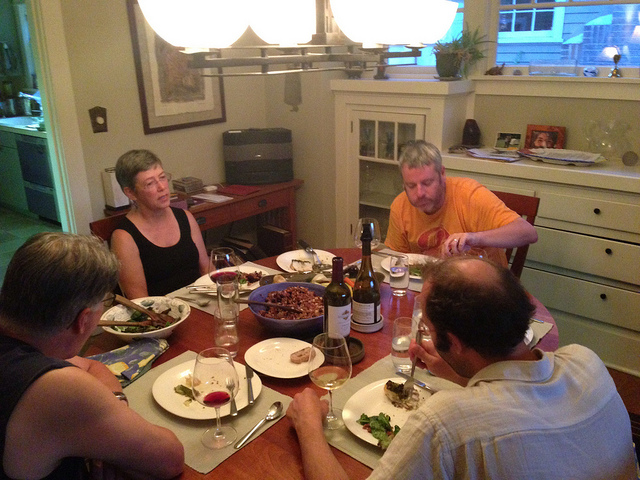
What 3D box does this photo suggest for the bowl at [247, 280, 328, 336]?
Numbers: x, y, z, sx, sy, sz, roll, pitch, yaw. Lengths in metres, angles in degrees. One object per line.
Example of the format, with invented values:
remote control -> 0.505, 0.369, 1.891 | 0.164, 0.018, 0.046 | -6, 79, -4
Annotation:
bowl -> -0.118, 0.307, 1.900 | 0.318, 0.129, 0.325 | 1, 14, 0

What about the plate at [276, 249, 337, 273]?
plate -> -0.096, 0.092, 2.476 | 0.171, 0.031, 0.168 | -11, 27, -23

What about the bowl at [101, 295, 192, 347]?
bowl -> -0.718, 0.326, 1.880 | 0.311, 0.094, 0.300 | 3, 18, -1

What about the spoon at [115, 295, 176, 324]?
spoon -> -0.722, 0.292, 1.945 | 0.183, 0.022, 0.028 | 25, 44, 24

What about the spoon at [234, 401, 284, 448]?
spoon -> -0.173, 0.553, 1.450 | 0.051, 0.036, 0.244 | 19, 33, 24

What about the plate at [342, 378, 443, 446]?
plate -> 0.176, 0.533, 1.468 | 0.173, 0.037, 0.250 | 18, 27, 40

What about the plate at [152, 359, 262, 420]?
plate -> -0.382, 0.493, 1.572 | 0.300, 0.046, 0.330 | -19, 27, -41

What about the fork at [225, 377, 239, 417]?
fork -> -0.269, 0.462, 1.412 | 0.025, 0.184, 0.021 | -3, 30, -12

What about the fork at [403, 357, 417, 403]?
fork -> 0.295, 0.466, 1.535 | 0.023, 0.025, 0.204 | 10, 40, 10

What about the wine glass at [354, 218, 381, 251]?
wine glass -> 0.229, -0.017, 2.297 | 0.147, 0.156, 0.161 | -2, -13, 9

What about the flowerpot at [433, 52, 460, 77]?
flowerpot -> 0.931, -1.301, 3.522 | 0.173, 0.139, 0.174 | 25, 39, 36
